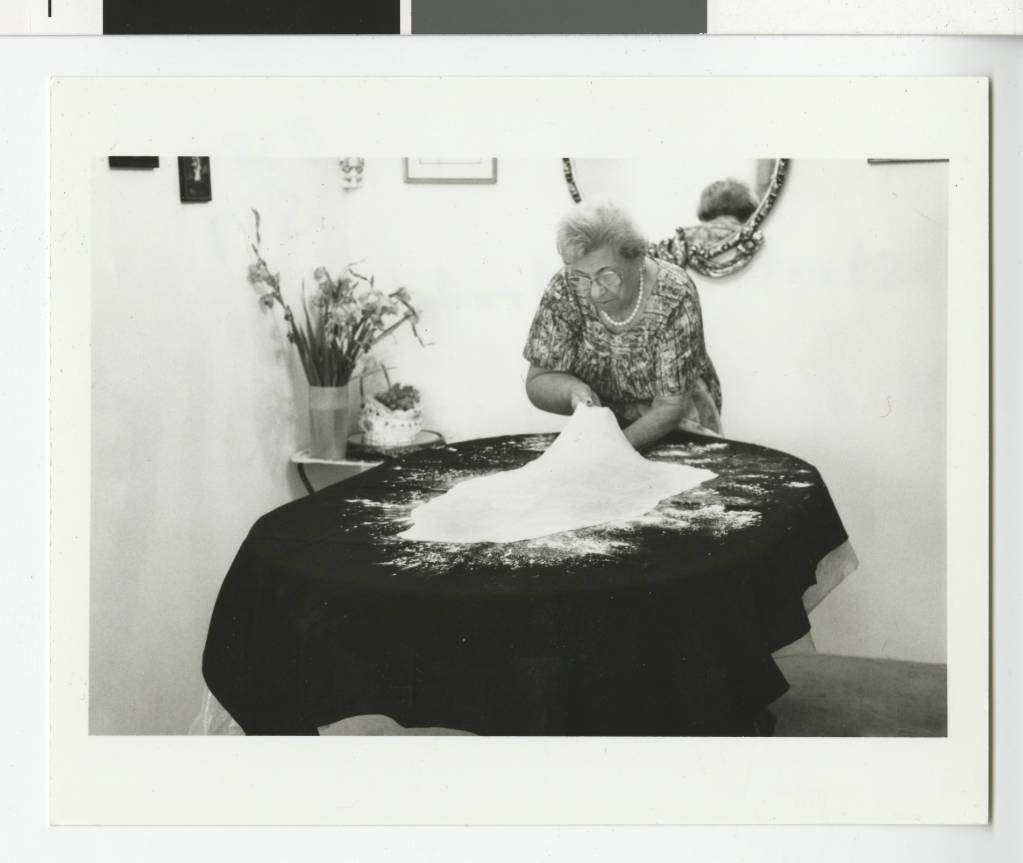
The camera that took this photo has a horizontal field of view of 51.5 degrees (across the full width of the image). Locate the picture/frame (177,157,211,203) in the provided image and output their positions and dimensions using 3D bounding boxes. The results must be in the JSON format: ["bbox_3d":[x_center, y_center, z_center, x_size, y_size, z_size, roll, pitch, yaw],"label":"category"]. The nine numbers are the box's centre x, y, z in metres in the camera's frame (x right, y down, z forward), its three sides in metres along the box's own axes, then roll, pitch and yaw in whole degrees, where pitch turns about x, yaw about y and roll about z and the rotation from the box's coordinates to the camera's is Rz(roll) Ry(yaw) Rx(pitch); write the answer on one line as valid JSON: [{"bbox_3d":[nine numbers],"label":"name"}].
[{"bbox_3d":[-0.563,-0.454,1.907,0.060,0.081,0.017,-2,1,3],"label":"picture/frame"}]

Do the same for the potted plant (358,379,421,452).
[{"bbox_3d":[-0.207,-0.031,1.868,0.094,0.117,0.106,2,2,9],"label":"potted plant"}]

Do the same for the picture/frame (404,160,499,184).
[{"bbox_3d":[-0.106,-0.465,1.899,0.169,0.046,0.008,-1,8,0],"label":"picture/frame"}]

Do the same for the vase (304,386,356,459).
[{"bbox_3d":[-0.334,-0.026,1.949,0.078,0.144,0.080,-2,16,-20],"label":"vase"}]

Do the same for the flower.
[{"bbox_3d":[-0.304,-0.214,1.936,0.232,0.250,0.129,0,-12,-22],"label":"flower"}]
